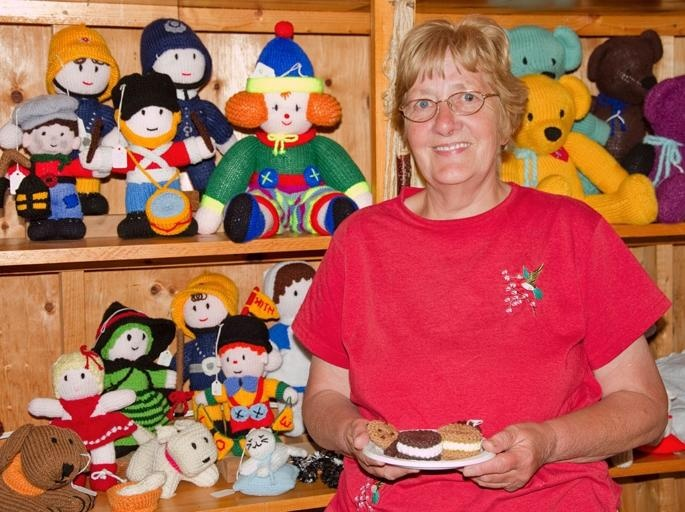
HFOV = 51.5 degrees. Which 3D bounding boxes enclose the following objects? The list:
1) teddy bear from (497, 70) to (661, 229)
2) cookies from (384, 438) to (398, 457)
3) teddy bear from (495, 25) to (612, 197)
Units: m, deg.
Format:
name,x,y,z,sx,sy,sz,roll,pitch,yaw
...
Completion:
name,x,y,z,sx,sy,sz,roll,pitch,yaw
teddy bear,0.611,-0.272,1.831,0.317,0.315,0.276,-31,31,-17
cookies,0.086,0.342,1.263,0.017,0.007,0.028,12,60,28
teddy bear,0.589,-0.441,2.010,0.299,0.396,0.256,-12,19,24
